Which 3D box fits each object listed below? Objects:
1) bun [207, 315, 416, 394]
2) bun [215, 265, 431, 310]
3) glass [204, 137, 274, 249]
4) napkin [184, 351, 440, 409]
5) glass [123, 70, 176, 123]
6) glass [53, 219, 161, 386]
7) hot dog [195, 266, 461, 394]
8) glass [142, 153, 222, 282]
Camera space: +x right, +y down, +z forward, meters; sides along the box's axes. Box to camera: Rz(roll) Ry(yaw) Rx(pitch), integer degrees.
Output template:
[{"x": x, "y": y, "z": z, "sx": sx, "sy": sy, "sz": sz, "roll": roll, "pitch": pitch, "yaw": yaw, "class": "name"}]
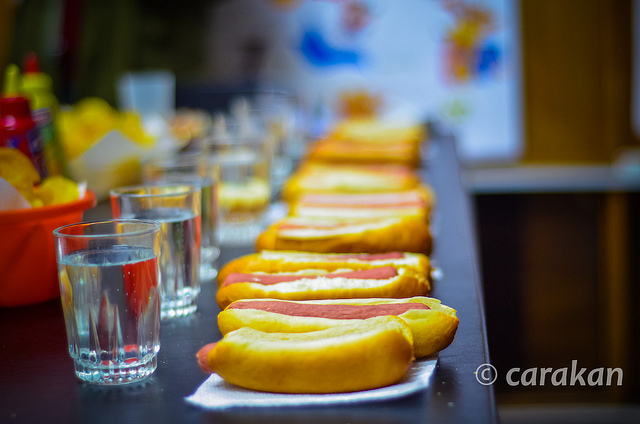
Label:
[{"x": -0.012, "y": 0.164, "z": 0.689, "sx": 0.234, "sy": 0.083, "sz": 0.039, "roll": -2, "pitch": 2, "yaw": 3, "class": "bun"}, {"x": 0.004, "y": 0.099, "z": 0.781, "sx": 0.305, "sy": 0.066, "sz": 0.091, "roll": -3, "pitch": 3, "yaw": 2, "class": "bun"}, {"x": -0.166, "y": -0.050, "z": 1.235, "sx": 0.161, "sy": 0.181, "sz": 0.161, "roll": -2, "pitch": 5, "yaw": -2, "class": "glass"}, {"x": -0.012, "y": 0.202, "z": 0.630, "sx": 0.247, "sy": 0.023, "sz": 0.241, "roll": -3, "pitch": -16, "yaw": -11, "class": "napkin"}, {"x": -0.442, "y": -0.283, "z": 1.578, "sx": 0.142, "sy": 0.136, "sz": 0.130, "roll": -8, "pitch": 16, "yaw": -31, "class": "glass"}, {"x": -0.255, "y": 0.114, "z": 0.760, "sx": 0.131, "sy": 0.191, "sz": 0.123, "roll": -5, "pitch": -2, "yaw": 21, "class": "glass"}, {"x": 0.010, "y": 0.140, "z": 0.764, "sx": 0.327, "sy": 0.126, "sz": 0.214, "roll": -1, "pitch": 1, "yaw": 13, "class": "hot dog"}, {"x": -0.225, "y": 0.002, "z": 1.015, "sx": 0.105, "sy": 0.169, "sz": 0.102, "roll": 4, "pitch": 11, "yaw": 8, "class": "glass"}]
